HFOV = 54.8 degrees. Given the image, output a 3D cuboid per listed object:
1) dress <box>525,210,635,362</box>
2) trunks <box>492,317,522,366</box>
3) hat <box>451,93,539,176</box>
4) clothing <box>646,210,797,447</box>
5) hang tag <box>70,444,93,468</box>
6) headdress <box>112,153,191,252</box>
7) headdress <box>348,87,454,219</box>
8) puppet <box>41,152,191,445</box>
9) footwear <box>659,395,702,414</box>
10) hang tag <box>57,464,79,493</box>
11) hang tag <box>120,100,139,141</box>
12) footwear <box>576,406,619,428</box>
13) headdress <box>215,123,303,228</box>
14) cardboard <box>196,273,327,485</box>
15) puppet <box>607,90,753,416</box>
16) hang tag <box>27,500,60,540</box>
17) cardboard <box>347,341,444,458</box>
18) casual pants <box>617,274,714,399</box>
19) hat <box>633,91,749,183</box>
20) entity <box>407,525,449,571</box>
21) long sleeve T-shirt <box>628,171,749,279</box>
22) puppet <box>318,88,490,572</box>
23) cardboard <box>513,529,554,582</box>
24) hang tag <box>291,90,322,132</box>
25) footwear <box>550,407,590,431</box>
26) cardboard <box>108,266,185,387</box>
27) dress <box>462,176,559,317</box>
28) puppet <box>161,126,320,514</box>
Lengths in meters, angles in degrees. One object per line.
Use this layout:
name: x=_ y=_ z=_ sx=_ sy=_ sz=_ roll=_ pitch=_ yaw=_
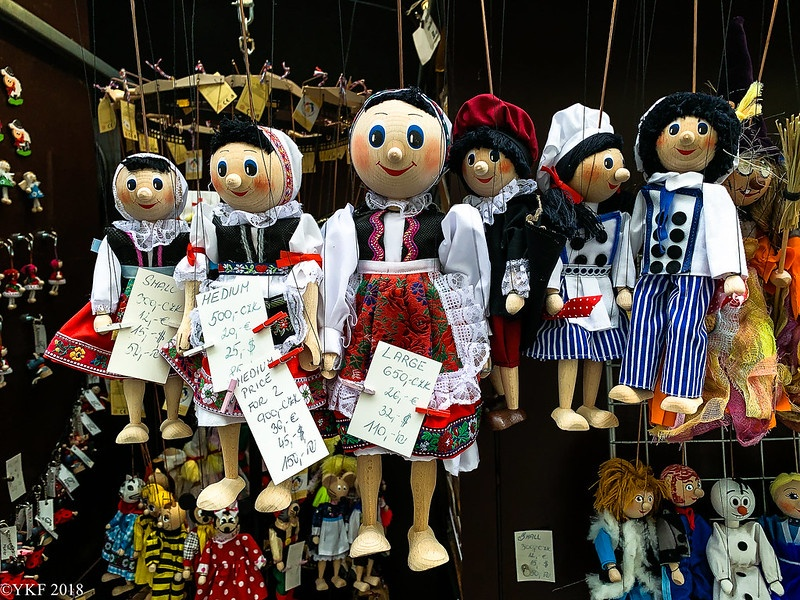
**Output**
dress: x=0.618 y=-0.043 z=2.694 sx=0.456 sy=0.646 sz=0.323 roll=2 pitch=-3 yaw=-13
trunks: x=0.360 y=0.114 z=2.699 sx=0.089 sy=0.100 sz=0.242 roll=0 pitch=-47 yaw=16
hat: x=0.353 y=-0.565 z=2.777 sx=0.287 sy=0.229 sz=0.314 roll=-1 pitch=-19 yaw=20
clothing: x=1.221 y=0.105 z=2.988 sx=0.578 sy=0.744 sz=0.332 roll=2 pitch=1 yaw=-4
hang tag: x=-1.311 y=0.651 z=3.203 sx=0.089 sy=0.022 sz=0.092 roll=33 pitch=-24 yaw=21
headdress: x=-0.913 y=-0.338 z=2.842 sx=0.262 sy=0.355 sz=0.211 roll=-4 pitch=6 yaw=-15
headdress: x=0.002 y=-0.527 z=2.730 sx=0.365 sy=0.408 sz=0.412 roll=8 pitch=16 yaw=19
puppet: x=-0.946 y=-0.008 z=2.853 sx=0.666 sy=1.048 sz=0.285 roll=-2 pitch=-6 yaw=-16
footwear: x=0.953 y=0.362 z=2.631 sx=0.136 sy=0.069 sz=0.098 roll=-2 pitch=-5 yaw=11
hang tag: x=-1.354 y=0.736 z=3.161 sx=0.026 sy=0.109 sz=0.079 roll=-11 pitch=27 yaw=32
hang tag: x=-1.083 y=-0.722 z=3.101 sx=0.020 sy=0.149 sz=0.084 roll=-7 pitch=-3 yaw=22
footwear: x=0.719 y=0.421 z=2.760 sx=0.078 sy=0.056 sz=0.120 roll=-5 pitch=7 yaw=-34
headdress: x=-0.529 y=-0.455 z=2.739 sx=0.374 sy=0.346 sz=0.326 roll=-10 pitch=16 yaw=-29
cardboard: x=-0.461 y=0.263 z=2.563 sx=0.434 sy=0.665 sz=0.091 roll=-2 pitch=-5 yaw=17
puppet: x=0.959 y=-0.166 z=2.686 sx=0.427 sy=1.172 sz=0.360 roll=-2 pitch=-25 yaw=37
hang tag: x=-1.394 y=0.869 z=3.065 sx=0.079 sy=0.156 sz=0.162 roll=1 pitch=-5 yaw=-15
cardboard: x=-0.017 y=0.323 z=2.571 sx=0.232 sy=0.343 sz=0.025 roll=16 pitch=1 yaw=10
casual pants: x=0.908 y=0.116 z=2.634 sx=0.235 sy=0.480 sz=0.166 roll=6 pitch=-6 yaw=20
hat: x=0.979 y=-0.584 z=2.635 sx=0.287 sy=0.341 sz=0.164 roll=1 pitch=19 yaw=19
entity: x=0.093 y=0.845 z=2.639 sx=0.125 sy=0.134 sz=0.150 roll=0 pitch=-5 yaw=-1
long sleeve T-shirt: x=0.958 y=-0.248 z=2.705 sx=0.409 sy=0.380 sz=0.184 roll=0 pitch=-23 yaw=31
puppet: x=0.020 y=0.090 z=2.673 sx=0.549 sy=1.611 sz=0.435 roll=0 pitch=0 yaw=-2
cardboard: x=0.537 y=1.030 z=3.095 sx=0.193 sy=0.286 sz=0.028 roll=-1 pitch=1 yaw=4
hang tag: x=-0.387 y=-0.804 z=3.278 sx=0.093 sy=0.180 sz=0.014 roll=6 pitch=-20 yaw=-5
footwear: x=0.607 y=0.427 z=2.758 sx=0.119 sy=0.088 sz=0.142 roll=-2 pitch=-5 yaw=12
cardboard: x=-0.875 y=0.088 z=2.781 sx=0.224 sy=0.421 sz=0.032 roll=0 pitch=-35 yaw=-5
dress: x=0.376 y=-0.164 z=2.643 sx=0.353 sy=0.507 sz=0.202 roll=-12 pitch=-15 yaw=41
puppet: x=-0.551 y=0.049 z=2.683 sx=0.538 sy=1.317 sz=0.337 roll=1 pitch=-4 yaw=-1
